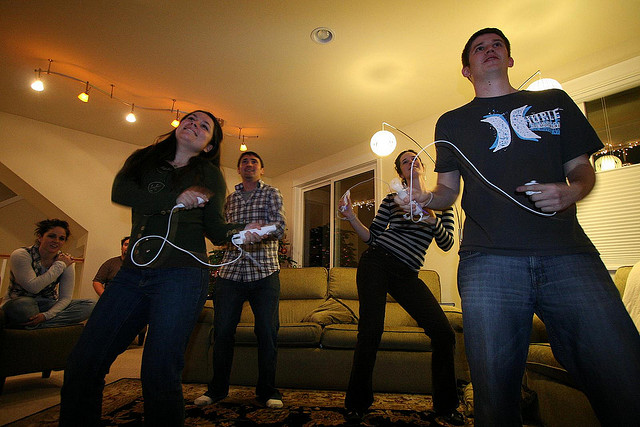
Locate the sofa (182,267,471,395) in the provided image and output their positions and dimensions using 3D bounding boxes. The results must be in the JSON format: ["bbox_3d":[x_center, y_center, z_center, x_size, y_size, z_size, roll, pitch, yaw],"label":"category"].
[{"bbox_3d":[0.122,1.033,3.919,2.388,1.007,1.246,-2,-7,17],"label":"sofa"}]

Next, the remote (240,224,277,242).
[{"bbox_3d":[-0.368,0.117,2.461,0.202,0.105,0.082,1,-7,-7],"label":"remote"}]

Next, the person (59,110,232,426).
[{"bbox_3d":[-0.912,0.235,2.295,0.734,1.727,0.345,1,-8,-5],"label":"person"}]

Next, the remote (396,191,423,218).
[{"bbox_3d":[0.456,-0.053,2.092,0.040,0.136,0.098,-35,-21,-14],"label":"remote"}]

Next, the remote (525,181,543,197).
[{"bbox_3d":[0.990,-0.118,1.931,0.071,0.077,0.066,-2,-7,13],"label":"remote"}]
